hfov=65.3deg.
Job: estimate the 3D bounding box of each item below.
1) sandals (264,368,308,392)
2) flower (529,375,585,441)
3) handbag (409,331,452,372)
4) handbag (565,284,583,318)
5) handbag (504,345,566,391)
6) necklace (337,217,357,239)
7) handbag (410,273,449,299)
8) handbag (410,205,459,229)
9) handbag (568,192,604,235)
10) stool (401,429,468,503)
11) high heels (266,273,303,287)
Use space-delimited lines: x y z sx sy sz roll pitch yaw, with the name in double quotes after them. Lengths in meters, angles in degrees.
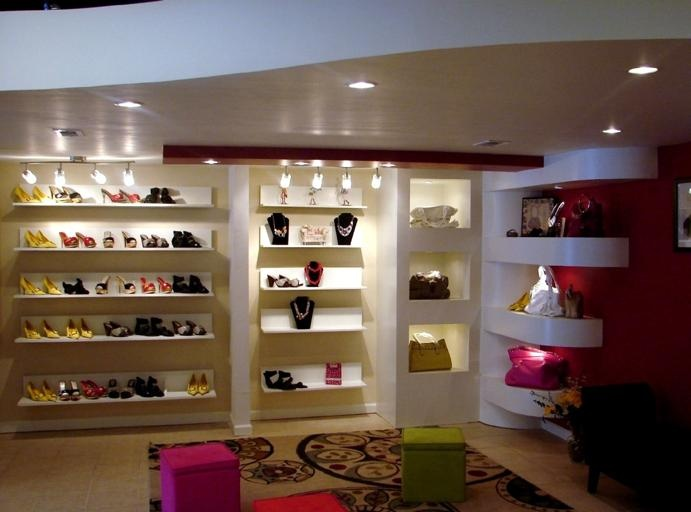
-0.786 1.520 6.648 0.617 0.249 0.210 1 -1 2 "sandals"
2.209 1.509 5.538 0.572 0.260 0.778 2 3 33 "flower"
1.032 1.181 6.648 0.455 0.390 0.154 0 -3 -14 "handbag"
2.446 0.480 5.777 0.181 0.319 0.304 -1 4 23 "handbag"
2.162 1.253 6.093 0.471 0.324 0.493 -1 -1 10 "handbag"
0.025 -0.344 6.809 0.204 0.251 0.161 0 -5 2 "necklace"
0.999 0.380 6.555 0.415 0.271 0.309 0 -4 -4 "handbag"
1.076 -0.465 6.587 0.359 0.156 0.360 0 -3 -9 "handbag"
2.483 -0.395 5.547 0.327 0.392 0.241 -2 4 13 "handbag"
0.780 1.831 4.903 0.543 0.486 0.551 -1 -1 -5 "stool"
-0.777 0.312 6.664 0.290 0.108 0.185 -3 -1 -2 "high heels"
